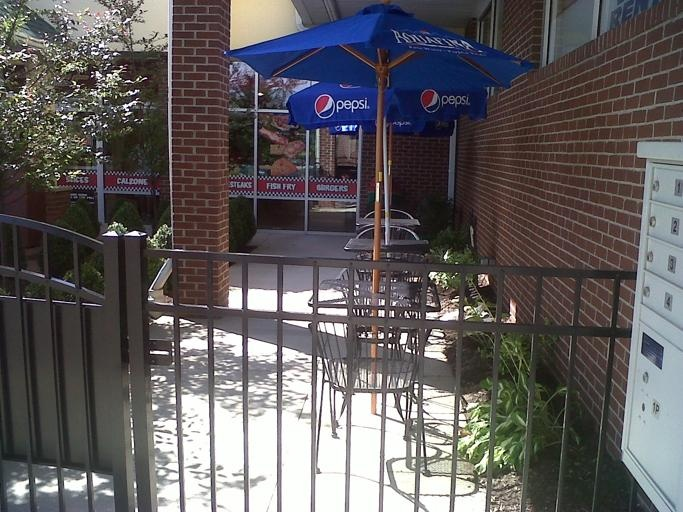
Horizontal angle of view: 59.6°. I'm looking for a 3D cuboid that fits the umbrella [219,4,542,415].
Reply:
[{"bbox_3d":[0.359,-0.632,5.409,2.444,2.976,2.641,7,11,26],"label":"umbrella"}]
